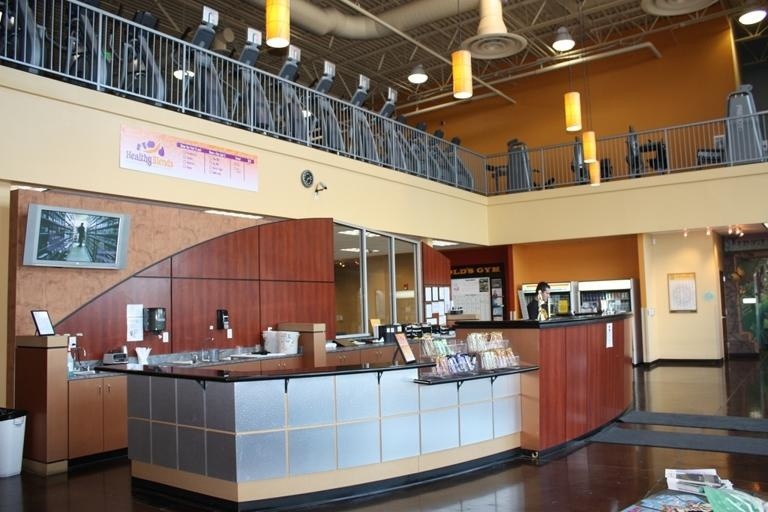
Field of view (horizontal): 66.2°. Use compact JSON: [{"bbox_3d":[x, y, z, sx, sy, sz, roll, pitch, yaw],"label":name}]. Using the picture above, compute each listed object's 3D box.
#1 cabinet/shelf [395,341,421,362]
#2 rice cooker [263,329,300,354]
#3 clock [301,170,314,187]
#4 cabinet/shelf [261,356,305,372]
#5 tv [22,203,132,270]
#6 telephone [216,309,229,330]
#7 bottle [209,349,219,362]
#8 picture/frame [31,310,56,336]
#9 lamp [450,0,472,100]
[{"bbox_3d":[0.350,1.257,7.749,0.300,0.253,0.550,-1,2,4],"label":"cabinet/shelf"},{"bbox_3d":[-1.799,1.516,10.320,0.602,0.312,0.385,0,0,38],"label":"rice cooker"},{"bbox_3d":[-1.449,-1.479,11.358,0.054,0.338,0.342,-1,2,31],"label":"clock"},{"bbox_3d":[-1.701,1.826,10.070,0.196,0.249,0.825,0,2,40],"label":"cabinet/shelf"},{"bbox_3d":[-4.436,-0.274,8.450,1.011,0.653,0.100,2,5,-38],"label":"tv"},{"bbox_3d":[-2.714,1.083,10.068,0.242,0.360,0.091,-3,2,-43],"label":"telephone"},{"bbox_3d":[-2.731,1.631,9.595,0.163,0.174,0.160,0,-8,-4],"label":"bottle"},{"bbox_3d":[-4.720,0.932,8.181,0.238,0.393,0.296,-21,-11,27],"label":"picture/frame"},{"bbox_3d":[1.167,-2.719,8.746,0.269,0.787,0.523,-1,1,5],"label":"lamp"}]
